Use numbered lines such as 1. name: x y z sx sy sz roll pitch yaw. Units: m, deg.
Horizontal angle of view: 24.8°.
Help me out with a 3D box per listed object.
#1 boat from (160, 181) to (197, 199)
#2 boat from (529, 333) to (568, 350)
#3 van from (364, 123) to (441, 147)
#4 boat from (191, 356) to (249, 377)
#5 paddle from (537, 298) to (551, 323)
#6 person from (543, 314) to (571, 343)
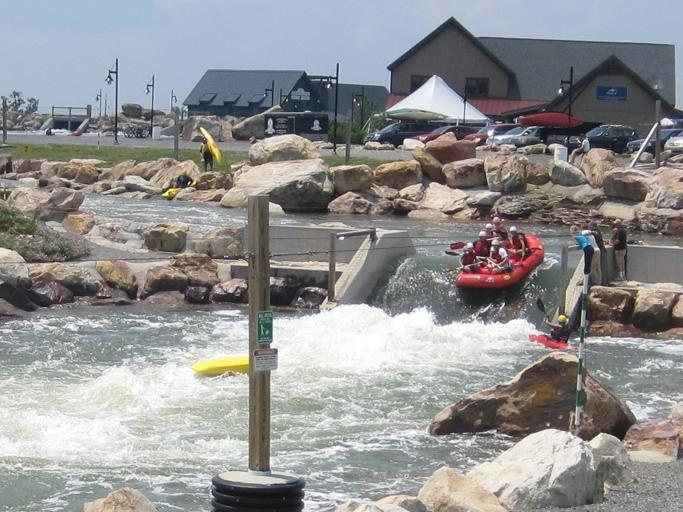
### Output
1. boat: -7.378 -3.102 71.823 1.052 0.880 1.682 4 3 32
2. boat: 7.069 2.870 52.795 0.969 0.190 0.538 15 13 32
3. van: 3.644 -6.934 86.144 3.552 1.213 1.635 0 3 -4
4. boat: -3.800 3.509 50.151 1.760 0.282 0.769 -2 13 -4
5. paddle: 7.087 1.884 54.331 0.166 0.172 1.155 26 26 -33
6. person: 7.344 2.402 52.720 0.780 0.886 0.854 3 3 9
